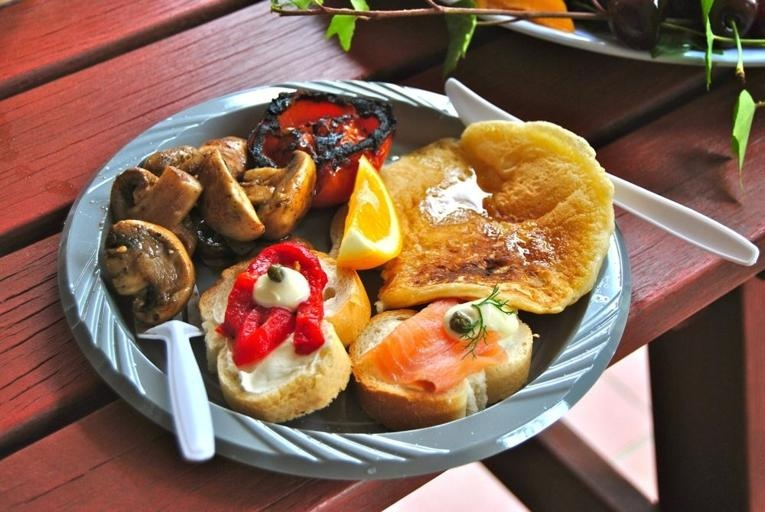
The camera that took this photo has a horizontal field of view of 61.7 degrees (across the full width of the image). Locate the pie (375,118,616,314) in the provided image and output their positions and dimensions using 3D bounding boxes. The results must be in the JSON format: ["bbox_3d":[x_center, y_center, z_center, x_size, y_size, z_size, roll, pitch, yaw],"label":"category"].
[{"bbox_3d":[0.281,-0.089,1.566,0.574,0.190,0.495,-8,59,8],"label":"pie"}]

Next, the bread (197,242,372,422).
[{"bbox_3d":[-0.213,0.224,1.466,0.388,0.139,0.395,-31,63,-20],"label":"bread"}]

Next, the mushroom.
[{"bbox_3d":[-0.419,-0.038,1.635,0.398,0.208,0.484,6,47,14],"label":"mushroom"}]

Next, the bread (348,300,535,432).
[{"bbox_3d":[0.141,0.237,1.412,0.376,0.134,0.259,-17,43,-14],"label":"bread"}]

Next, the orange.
[{"bbox_3d":[-0.014,-0.103,1.590,0.257,0.222,0.245,-2,30,3],"label":"orange"}]
